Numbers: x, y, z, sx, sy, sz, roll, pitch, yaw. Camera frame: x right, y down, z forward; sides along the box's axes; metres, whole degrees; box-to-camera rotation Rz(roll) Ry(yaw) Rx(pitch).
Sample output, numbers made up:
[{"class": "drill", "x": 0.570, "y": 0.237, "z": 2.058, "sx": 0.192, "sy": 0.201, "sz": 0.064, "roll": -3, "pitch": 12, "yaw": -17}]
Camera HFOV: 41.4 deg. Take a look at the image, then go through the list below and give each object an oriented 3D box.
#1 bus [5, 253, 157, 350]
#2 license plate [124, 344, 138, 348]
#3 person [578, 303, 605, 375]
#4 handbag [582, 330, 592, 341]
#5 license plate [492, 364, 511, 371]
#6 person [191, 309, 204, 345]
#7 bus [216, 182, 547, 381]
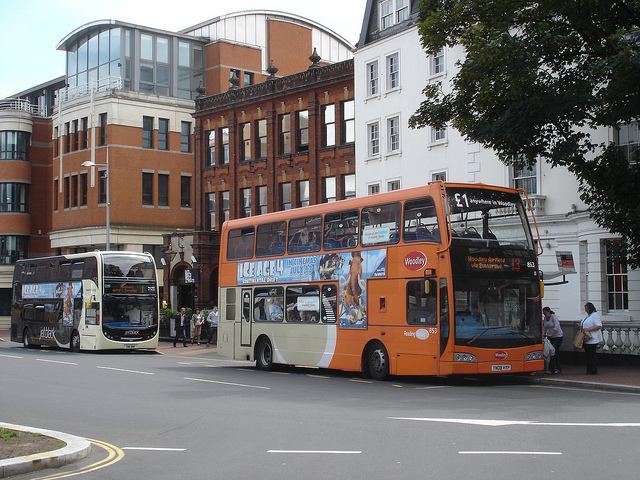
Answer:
[{"class": "bus", "x": -12.730, "y": 2.988, "z": 41.606, "sx": 11.423, "sy": 5.205, "sz": 2.951, "roll": -9, "pitch": -12, "yaw": 36}, {"class": "license plate", "x": -8.633, "y": 4.803, "z": 38.565, "sx": 0.611, "sy": 0.141, "sz": 0.302, "roll": 3, "pitch": -12, "yaw": -21}, {"class": "person", "x": 8.169, "y": 2.918, "z": 25.409, "sx": 0.605, "sy": 2.167, "sz": 0.803, "roll": -3, "pitch": -9, "yaw": 18}, {"class": "handbag", "x": 7.947, "y": 2.813, "z": 25.139, "sx": 0.260, "sy": 0.314, "sz": 0.112, "roll": -7, "pitch": -10, "yaw": 31}, {"class": "license plate", "x": 4.875, "y": 3.405, "z": 22.694, "sx": 0.613, "sy": 0.170, "sz": 0.076, "roll": 6, "pitch": -11, "yaw": -31}, {"class": "person", "x": -6.510, "y": 4.568, "z": 44.796, "sx": 0.617, "sy": 1.861, "sz": 1.350, "roll": 1, "pitch": -9, "yaw": -8}, {"class": "bus", "x": 1.508, "y": 1.612, "z": 27.919, "sx": 4.538, "sy": 6.323, "sz": 12.906, "roll": 3, "pitch": -6, "yaw": -35}]
